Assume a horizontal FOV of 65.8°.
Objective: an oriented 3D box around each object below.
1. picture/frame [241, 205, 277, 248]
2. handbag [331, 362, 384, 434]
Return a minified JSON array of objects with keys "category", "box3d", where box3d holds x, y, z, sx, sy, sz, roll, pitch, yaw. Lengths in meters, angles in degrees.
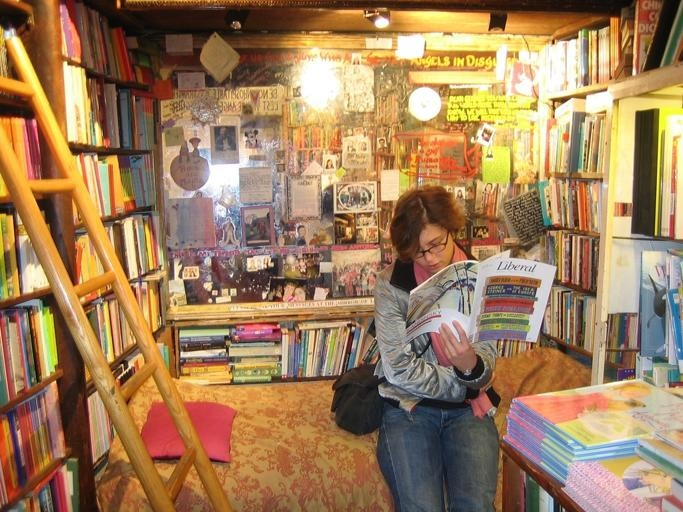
[{"category":"picture/frame","box3d":[-0.608,-0.228,3.766,0.242,0.358,0.026,-3,9,-4]},{"category":"handbag","box3d":[0.077,0.626,2.422,0.211,0.279,0.105,-22,-45,33]}]
